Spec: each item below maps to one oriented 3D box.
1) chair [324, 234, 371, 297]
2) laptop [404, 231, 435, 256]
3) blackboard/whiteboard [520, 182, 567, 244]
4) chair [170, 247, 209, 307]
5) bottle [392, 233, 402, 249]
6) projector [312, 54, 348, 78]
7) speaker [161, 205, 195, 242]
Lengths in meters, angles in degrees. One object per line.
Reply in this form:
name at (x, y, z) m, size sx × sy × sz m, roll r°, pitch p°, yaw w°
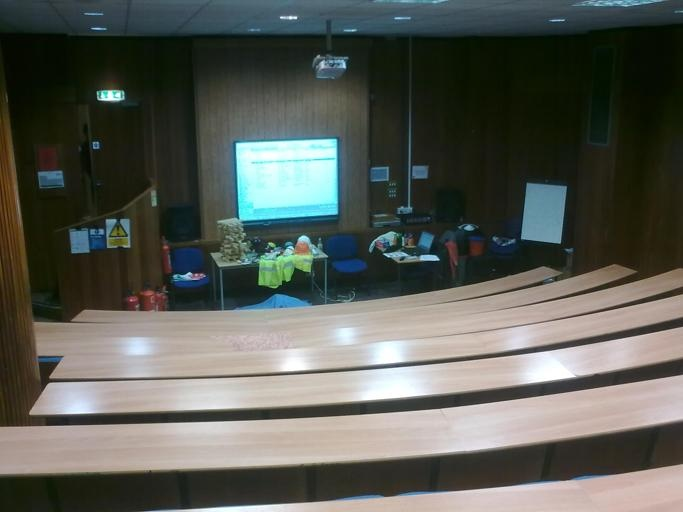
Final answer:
chair at (0.078, 0.203, 8.796) m, size 0.615 × 0.950 × 0.585 m, roll -15°, pitch 24°, yaw -38°
laptop at (1.219, -0.169, 8.844) m, size 0.406 × 0.312 × 0.485 m, roll -6°, pitch 17°, yaw -8°
blackboard/whiteboard at (3.291, -0.684, 9.071) m, size 0.868 × 1.288 × 0.123 m, roll 6°, pitch 6°, yaw 26°
chair at (-2.201, 0.363, 8.063) m, size 0.584 × 0.897 × 0.612 m, roll -10°, pitch 14°, yaw -42°
bottle at (0.914, -0.220, 9.049) m, size 0.156 × 0.263 × 0.145 m, roll -3°, pitch 10°, yaw 1°
projector at (-0.179, -2.448, 7.403) m, size 0.360 × 0.311 × 1.241 m, roll -4°, pitch 10°, yaw -3°
speaker at (-2.426, -0.455, 8.267) m, size 0.423 × 0.607 × 0.314 m, roll -5°, pitch 16°, yaw -23°
